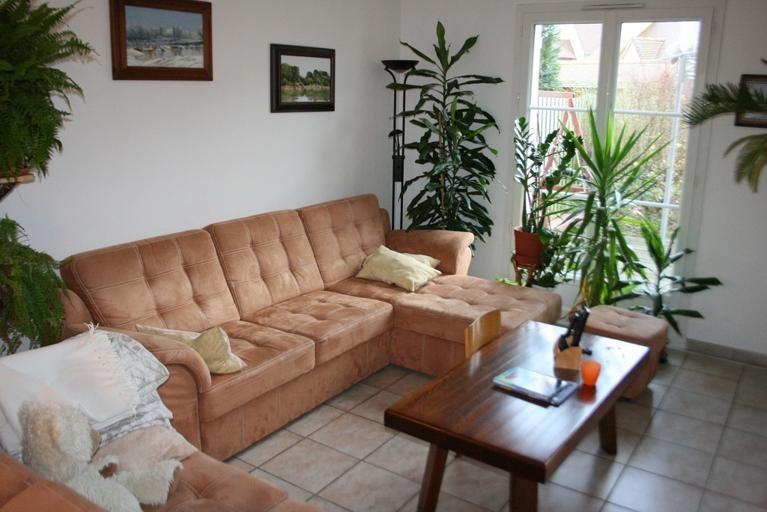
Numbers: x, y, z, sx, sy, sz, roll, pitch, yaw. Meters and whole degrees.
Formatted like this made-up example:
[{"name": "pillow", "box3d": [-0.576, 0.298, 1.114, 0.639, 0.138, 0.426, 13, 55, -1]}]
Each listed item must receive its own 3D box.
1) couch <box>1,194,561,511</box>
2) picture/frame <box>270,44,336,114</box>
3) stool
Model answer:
[{"name": "couch", "box3d": [-0.571, 0.412, 3.794, 1.880, 1.216, 3.149, 14, 23, 33]}, {"name": "picture/frame", "box3d": [-0.763, -1.643, 4.689, 0.746, 0.607, 0.052, -9, 16, -43]}, {"name": "stool", "box3d": [1.958, 0.705, 4.174, 0.715, 0.549, 0.716, 10, 17, 27]}]
